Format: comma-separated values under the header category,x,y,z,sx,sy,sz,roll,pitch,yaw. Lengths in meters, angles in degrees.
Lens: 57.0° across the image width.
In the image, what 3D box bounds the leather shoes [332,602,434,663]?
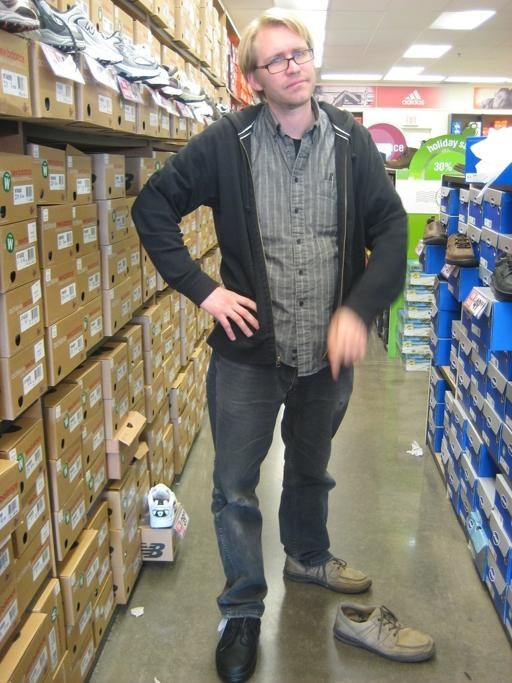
category,x,y,z,sx,sy,sz,roll,pitch,yaw
leather shoes,0.400,0.927,1.495,0.289,0.141,0.134,5,14,17

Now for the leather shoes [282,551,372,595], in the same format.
category,x,y,z,sx,sy,sz,roll,pitch,yaw
leather shoes,0.271,0.897,1.801,0.306,0.158,0.137,10,7,7

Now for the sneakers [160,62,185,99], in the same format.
category,x,y,z,sx,sy,sz,roll,pitch,yaw
sneakers,-0.331,-1.023,1.876,0.066,0.122,0.258,5,45,-7

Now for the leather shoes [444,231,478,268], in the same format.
category,x,y,z,sx,sy,sz,roll,pitch,yaw
leather shoes,1.012,-0.455,2.333,0.072,0.096,0.218,-1,11,4

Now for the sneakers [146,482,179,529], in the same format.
category,x,y,z,sx,sy,sz,roll,pitch,yaw
sneakers,-0.397,0.679,1.973,0.062,0.096,0.208,0,10,0
